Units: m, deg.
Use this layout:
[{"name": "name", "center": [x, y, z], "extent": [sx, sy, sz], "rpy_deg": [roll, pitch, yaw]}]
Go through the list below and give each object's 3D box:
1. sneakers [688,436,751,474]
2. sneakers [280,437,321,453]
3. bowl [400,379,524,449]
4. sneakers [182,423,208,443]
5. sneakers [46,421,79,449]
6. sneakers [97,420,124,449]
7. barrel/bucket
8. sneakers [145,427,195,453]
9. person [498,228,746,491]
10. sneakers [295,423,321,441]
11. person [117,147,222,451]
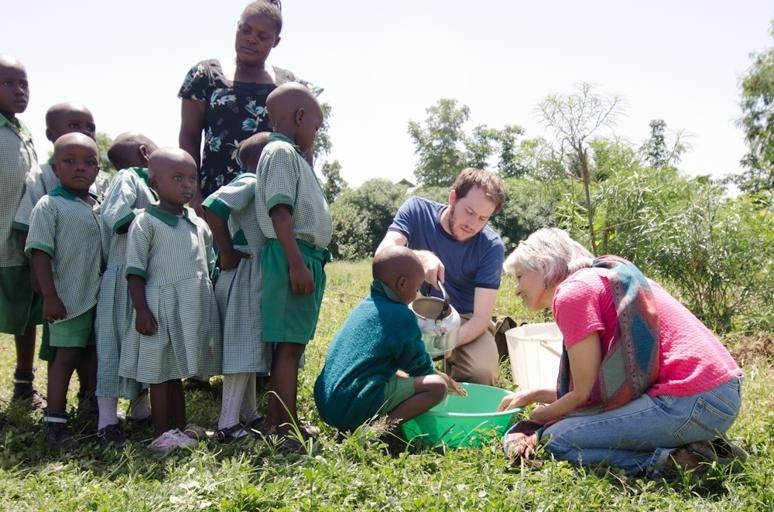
[{"name": "sneakers", "center": [2.144, 1.260, 3.877], "extent": [0.206, 0.138, 0.330], "rpy_deg": [6, 11, -46]}, {"name": "sneakers", "center": [-0.593, 1.282, 4.092], "extent": [0.301, 0.067, 0.171], "rpy_deg": [5, -11, -14]}, {"name": "bowl", "center": [0.499, 1.131, 4.240], "extent": [0.498, 0.183, 0.482], "rpy_deg": [-9, -7, -1]}, {"name": "sneakers", "center": [-1.373, 1.262, 4.351], "extent": [0.164, 0.066, 0.082], "rpy_deg": [23, 15, 15]}, {"name": "sneakers", "center": [-2.267, 1.241, 4.204], "extent": [0.160, 0.179, 0.246], "rpy_deg": [4, -11, -45]}, {"name": "sneakers", "center": [-1.924, 1.246, 4.233], "extent": [0.177, 0.132, 0.208], "rpy_deg": [0, -9, -26]}, {"name": "barrel/bucket", "center": [1.258, 0.858, 5.206], "extent": [0.556, 0.436, 0.572], "rpy_deg": [0, -3, 0]}, {"name": "sneakers", "center": [-1.495, 1.264, 4.175], "extent": [0.267, 0.107, 0.147], "rpy_deg": [-7, 11, 11]}, {"name": "person", "center": [1.604, 0.712, 4.046], "extent": [1.440, 1.412, 0.408], "rpy_deg": [-4, -7, 0]}, {"name": "sneakers", "center": [-0.555, 1.242, 4.298], "extent": [0.132, 0.082, 0.212], "rpy_deg": [2, -8, 6]}, {"name": "person", "center": [-1.574, 0.253, 4.411], "extent": [0.686, 2.095, 0.278], "rpy_deg": [-1, -8, -23]}]
